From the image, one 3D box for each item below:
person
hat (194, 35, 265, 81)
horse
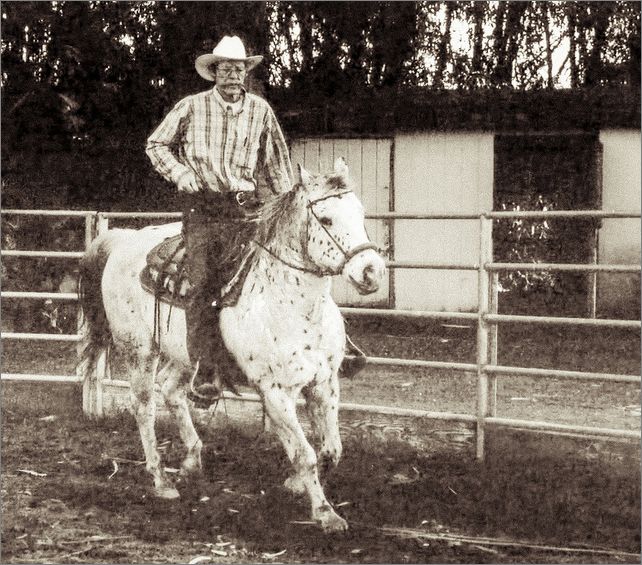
[{"bbox_3d":[-0.794,-0.407,8.495,0.949,3.350,0.839,0,-20,-2],"label":"person"},{"bbox_3d":[-0.791,-1.774,8.531,0.317,0.206,0.416,-3,-13,-10],"label":"hat"},{"bbox_3d":[-0.730,0.367,8.538,2.997,2.785,0.706,9,14,39],"label":"horse"}]
